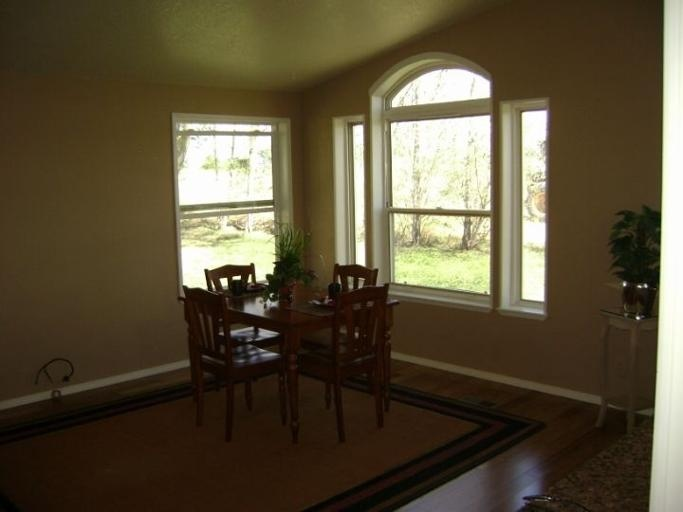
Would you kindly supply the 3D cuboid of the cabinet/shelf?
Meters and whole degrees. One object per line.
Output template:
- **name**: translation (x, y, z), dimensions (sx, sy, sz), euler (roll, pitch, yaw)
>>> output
- **cabinet/shelf**: translation (2.071, 0.804, 3.973), dimensions (0.367, 0.845, 0.588), euler (4, 11, 30)

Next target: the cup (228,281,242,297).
- **cup**: translation (-0.880, 0.274, 4.542), dimensions (0.112, 0.116, 0.106), euler (7, 0, 0)

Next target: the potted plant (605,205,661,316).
- **potted plant**: translation (2.045, 0.037, 3.799), dimensions (0.315, 0.776, 0.298), euler (4, 11, 30)
